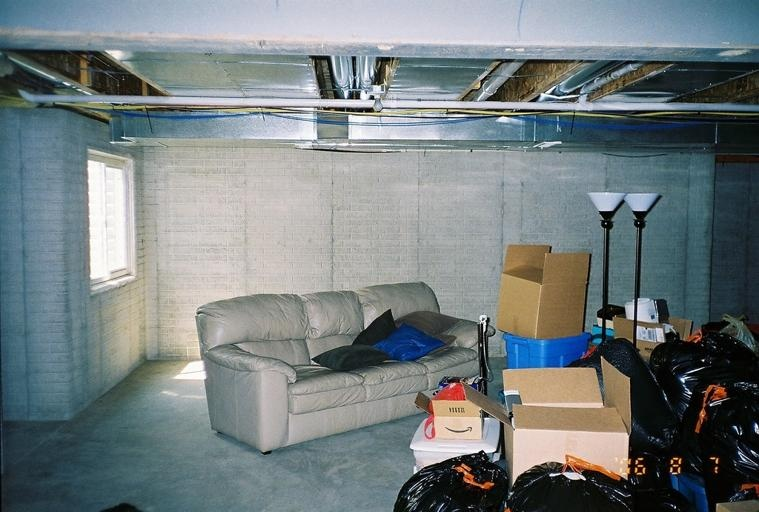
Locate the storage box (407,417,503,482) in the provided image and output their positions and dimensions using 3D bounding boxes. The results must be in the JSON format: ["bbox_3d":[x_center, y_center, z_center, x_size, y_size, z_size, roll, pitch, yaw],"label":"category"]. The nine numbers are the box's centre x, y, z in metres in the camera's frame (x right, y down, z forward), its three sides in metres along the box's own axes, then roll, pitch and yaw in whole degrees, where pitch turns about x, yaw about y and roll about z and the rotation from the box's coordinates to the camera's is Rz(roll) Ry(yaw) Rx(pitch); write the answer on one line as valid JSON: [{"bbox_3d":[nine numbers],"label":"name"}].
[{"bbox_3d":[0.502,1.217,3.843,0.522,0.339,0.519,0,-1,6],"label":"storage box"}]

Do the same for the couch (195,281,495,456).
[{"bbox_3d":[-0.256,0.962,5.705,2.776,0.998,1.211,-2,13,-42],"label":"couch"}]
